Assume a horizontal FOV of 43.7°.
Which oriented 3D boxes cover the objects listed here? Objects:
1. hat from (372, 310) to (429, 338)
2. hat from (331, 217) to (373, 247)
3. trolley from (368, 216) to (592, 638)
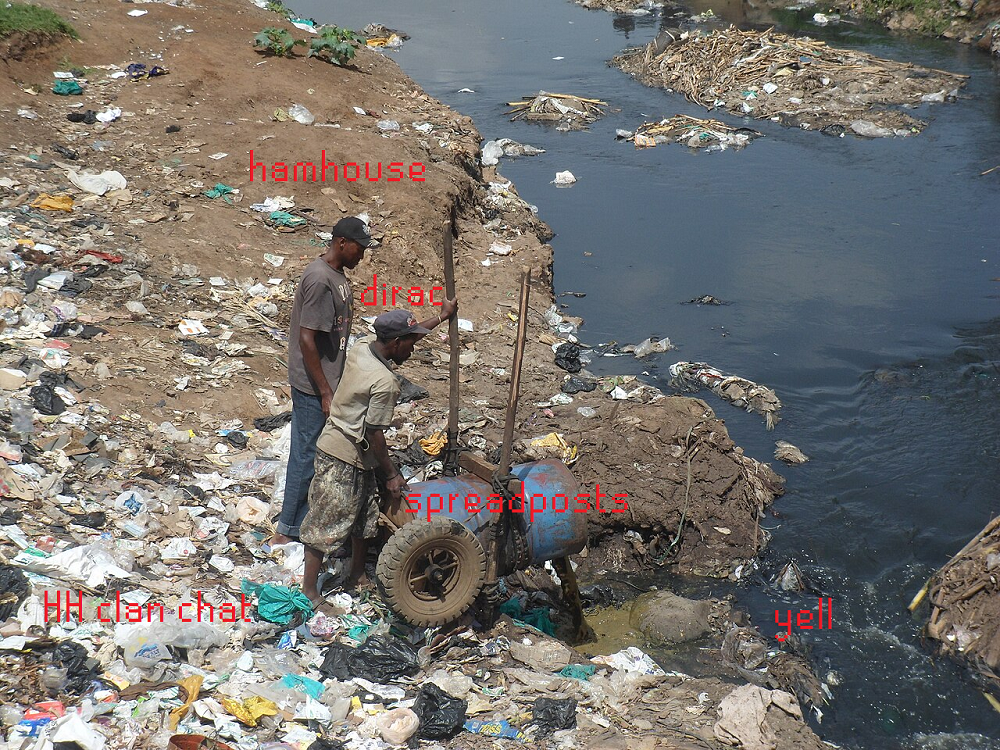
[{"bbox_3d":[-0.818,-0.426,10.326,0.428,0.147,0.233,-5,14,-15],"label":"hat"},{"bbox_3d":[-1.242,-1.208,10.462,0.359,0.160,0.223,6,22,-32],"label":"hat"},{"bbox_3d":[-0.258,0.723,10.844,2.309,3.144,1.453,-4,21,-23],"label":"trolley"}]
